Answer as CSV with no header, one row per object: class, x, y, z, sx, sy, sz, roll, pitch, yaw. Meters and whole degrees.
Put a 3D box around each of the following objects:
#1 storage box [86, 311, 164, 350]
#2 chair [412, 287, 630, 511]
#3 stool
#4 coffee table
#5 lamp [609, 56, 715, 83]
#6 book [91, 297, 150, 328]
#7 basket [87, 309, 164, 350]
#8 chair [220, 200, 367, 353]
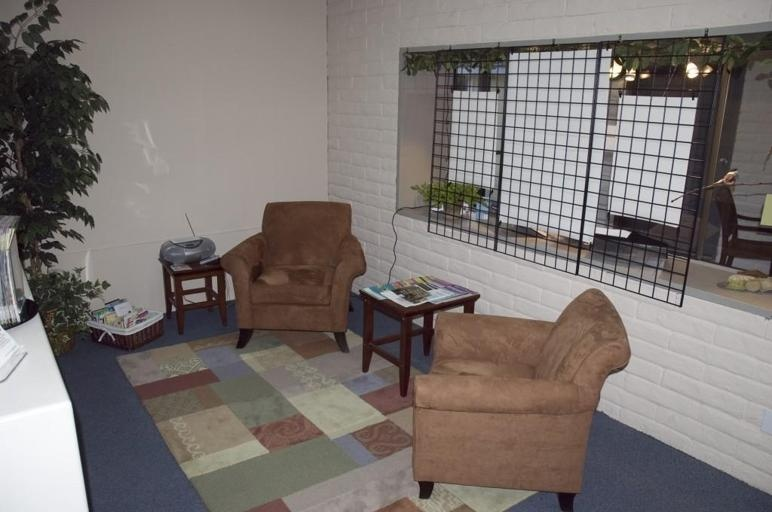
storage box,-2.237,0.679,4.568,0.367,0.168,0.458,10,16,31
chair,0.795,0.854,3.262,1.195,1.186,0.820,1,18,7
stool,-1.777,0.308,5.147,0.733,0.761,0.687,-8,17,-30
coffee table,0.155,0.529,4.382,0.932,0.877,0.917,-10,21,-31
lamp,1.896,-1.299,3.586,0.565,0.143,1.043,8,19,26
book,-2.349,0.522,4.559,0.269,0.112,0.338,8,11,25
basket,-2.239,0.654,4.567,0.352,0.176,0.485,9,15,31
chair,-0.747,0.193,5.013,1.530,1.356,1.218,1,14,1
